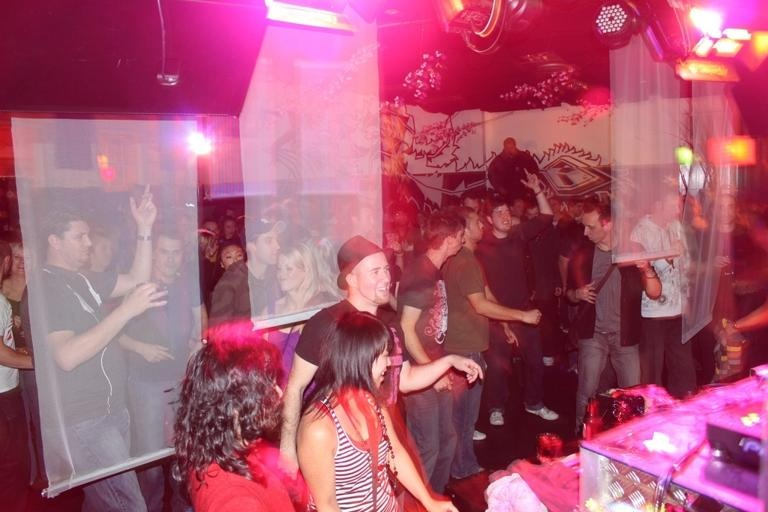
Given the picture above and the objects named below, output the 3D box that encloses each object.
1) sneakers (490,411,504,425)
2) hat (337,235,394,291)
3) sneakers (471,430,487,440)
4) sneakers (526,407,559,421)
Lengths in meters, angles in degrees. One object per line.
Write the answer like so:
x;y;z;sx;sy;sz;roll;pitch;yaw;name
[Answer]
1.092;1.570;5.349;0.106;0.125;0.134;8;-8;-8;sneakers
-0.132;0.054;3.278;0.291;0.122;0.245;-36;-6;4;hat
0.884;1.669;5.120;0.111;0.079;0.198;0;-9;-2;sneakers
1.568;1.547;5.451;0.261;0.110;0.116;0;6;35;sneakers
